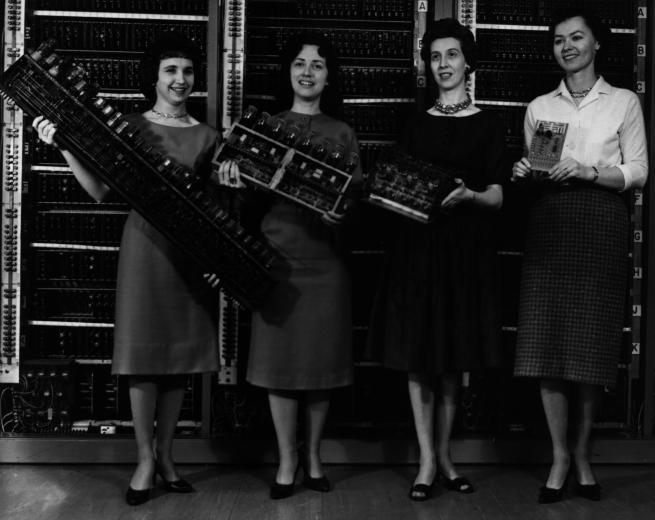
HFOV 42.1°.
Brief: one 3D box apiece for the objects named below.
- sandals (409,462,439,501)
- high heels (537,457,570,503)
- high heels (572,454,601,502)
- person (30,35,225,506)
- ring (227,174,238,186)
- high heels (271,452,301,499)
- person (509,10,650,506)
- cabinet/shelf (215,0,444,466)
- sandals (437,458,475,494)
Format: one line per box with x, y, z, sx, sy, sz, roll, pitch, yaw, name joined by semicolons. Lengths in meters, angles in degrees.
0.490;1.128;4.248;0.094;0.112;0.202;3;8;44;sandals
1.131;1.130;4.247;0.073;0.105;0.224;3;10;37;high heels
1.296;1.101;4.251;0.134;0.183;0.095;0;5;16;high heels
-0.870;0.027;4.211;0.691;2.289;0.395;-3;5;-8;person
-0.449;-0.373;3.997;0.029;0.047;0.039;8;-1;-5;ring
-0.218;1.099;4.278;0.084;0.123;0.269;2;9;15;high heels
1.276;-0.328;4.317;0.669;1.888;0.450;-1;5;12;person
-0.123;-0.025;4.314;0.611;2.221;0.452;-2;5;-2;cabinet/shelf
0.643;1.103;4.301;0.085;0.065;0.259;-3;9;-22;sandals
